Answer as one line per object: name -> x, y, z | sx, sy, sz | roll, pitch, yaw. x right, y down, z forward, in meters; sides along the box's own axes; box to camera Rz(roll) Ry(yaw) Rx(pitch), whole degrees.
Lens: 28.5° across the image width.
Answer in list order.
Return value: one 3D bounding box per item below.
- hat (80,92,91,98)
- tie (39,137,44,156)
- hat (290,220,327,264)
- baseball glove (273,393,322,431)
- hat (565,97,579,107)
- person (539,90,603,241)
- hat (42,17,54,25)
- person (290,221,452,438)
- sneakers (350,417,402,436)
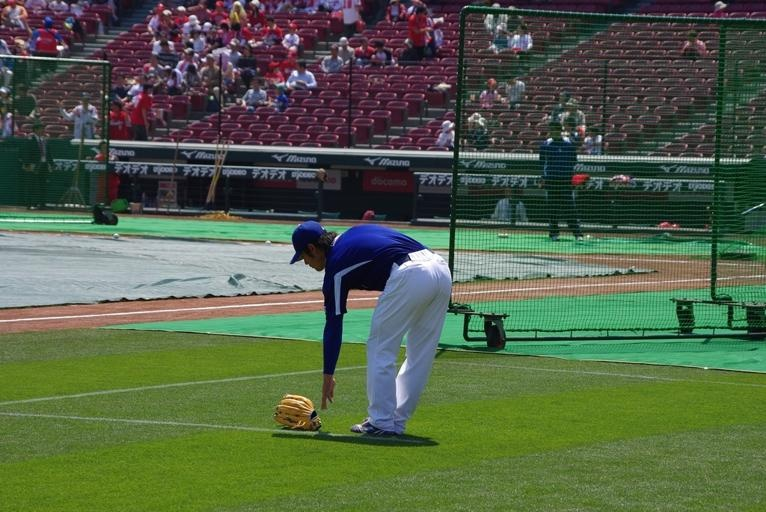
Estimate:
hat -> -6.373, -3.438, 32.079 | 0.149, 0.119, 0.056 | -1, 3, -39
tie -> -7.273, -2.314, 31.984 | 0.092, 0.390, 0.189 | 2, 3, 30
hat -> -0.898, -0.159, 17.650 | 0.398, 0.491, 0.303 | 1, 2, 0
baseball glove -> -1.034, 1.871, 17.891 | 0.572, 0.278, 0.408 | 16, 0, 5
hat -> 2.745, -2.251, 22.070 | 0.184, 0.133, 0.043 | 0, 3, -16
person -> 2.590, -1.456, 22.254 | 0.685, 1.866, 0.516 | 1, 3, -1
hat -> -9.903, -6.855, 44.240 | 0.471, 0.177, 0.554 | 0, 18, -11
person -> -0.088, 0.869, 17.702 | 1.703, 2.504, 0.419 | 1, 3, 0
sneakers -> -0.107, 2.023, 17.801 | 0.678, 0.225, 0.198 | 4, 0, 3
